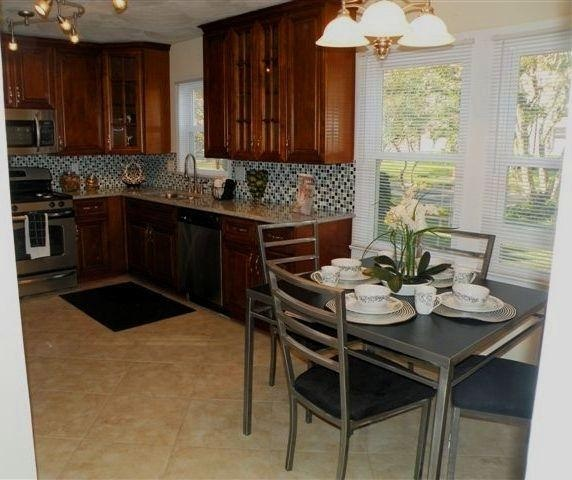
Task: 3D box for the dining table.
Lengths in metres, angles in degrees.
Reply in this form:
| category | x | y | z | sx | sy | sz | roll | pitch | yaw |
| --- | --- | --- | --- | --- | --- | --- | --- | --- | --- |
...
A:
| category | x | y | z | sx | sy | sz | roll | pitch | yaw |
| --- | --- | --- | --- | --- | --- | --- | --- | --- | --- |
| dining table | 0.574 | 0.385 | 2.180 | 1.211 | 0.863 | 1.121 | -7 | 14 | -43 |

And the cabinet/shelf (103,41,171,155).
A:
| category | x | y | z | sx | sy | sz | roll | pitch | yaw |
| --- | --- | --- | --- | --- | --- | --- | --- | --- | --- |
| cabinet/shelf | -1.659 | -1.580 | 5.152 | 0.720 | 1.167 | 0.204 | -2 | 14 | -11 |

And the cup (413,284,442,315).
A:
| category | x | y | z | sx | sy | sz | roll | pitch | yaw |
| --- | --- | --- | --- | --- | --- | --- | --- | --- | --- |
| cup | 0.587 | 0.248 | 1.960 | 0.136 | 0.097 | 0.087 | 6 | 6 | 35 |

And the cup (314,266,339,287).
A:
| category | x | y | z | sx | sy | sz | roll | pitch | yaw |
| --- | --- | --- | --- | --- | --- | --- | --- | --- | --- |
| cup | 0.192 | 0.179 | 2.233 | 0.121 | 0.084 | 0.076 | -2 | 9 | -11 |

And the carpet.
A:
| category | x | y | z | sx | sy | sz | roll | pitch | yaw |
| --- | --- | --- | --- | --- | --- | --- | --- | --- | --- |
| carpet | -1.548 | 0.609 | 4.441 | 0.803 | 0.021 | 1.258 | -11 | 16 | -44 |

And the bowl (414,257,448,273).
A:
| category | x | y | z | sx | sy | sz | roll | pitch | yaw |
| --- | --- | --- | --- | --- | --- | --- | --- | --- | --- |
| bowl | 0.809 | 0.122 | 2.503 | 0.127 | 0.058 | 0.123 | 1 | 10 | 0 |

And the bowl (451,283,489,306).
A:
| category | x | y | z | sx | sy | sz | roll | pitch | yaw |
| --- | --- | --- | --- | --- | --- | --- | --- | --- | --- |
| bowl | 0.795 | 0.228 | 1.996 | 0.108 | 0.050 | 0.105 | 0 | 6 | 0 |

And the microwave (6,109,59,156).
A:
| category | x | y | z | sx | sy | sz | roll | pitch | yaw |
| --- | --- | --- | --- | --- | --- | --- | --- | --- | --- |
| microwave | -2.649 | -1.111 | 4.694 | 0.238 | 0.467 | 0.519 | 7 | 14 | 26 |

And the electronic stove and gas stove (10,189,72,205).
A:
| category | x | y | z | sx | sy | sz | roll | pitch | yaw |
| --- | --- | --- | --- | --- | --- | --- | --- | --- | --- |
| electronic stove and gas stove | -2.457 | -0.429 | 4.572 | 0.570 | 0.112 | 0.517 | -8 | 16 | -43 |

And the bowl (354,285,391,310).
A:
| category | x | y | z | sx | sy | sz | roll | pitch | yaw |
| --- | --- | --- | --- | --- | --- | --- | --- | --- | --- |
| bowl | 0.346 | 0.229 | 1.920 | 0.110 | 0.051 | 0.107 | 0 | 6 | 0 |

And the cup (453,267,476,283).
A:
| category | x | y | z | sx | sy | sz | roll | pitch | yaw |
| --- | --- | --- | --- | --- | --- | --- | --- | --- | --- |
| cup | 0.889 | 0.172 | 2.261 | 0.100 | 0.070 | 0.064 | 5 | 8 | 37 |
